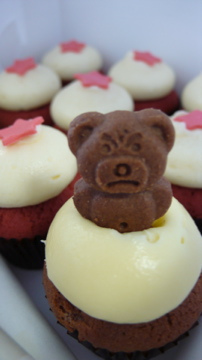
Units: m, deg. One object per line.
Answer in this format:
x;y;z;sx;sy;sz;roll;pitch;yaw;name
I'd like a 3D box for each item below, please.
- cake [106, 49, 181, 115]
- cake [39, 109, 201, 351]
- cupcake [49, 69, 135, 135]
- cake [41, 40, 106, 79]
0.255;-0.639;2.528;0.658;0.418;0.624;2;36;1;cake
0.060;0.193;1.040;0.502;0.796;0.358;-6;32;-3;cake
-0.088;-0.465;1.951;0.482;0.265;0.460;-8;26;-9;cupcake
-0.204;-0.845;2.487;0.418;0.242;0.396;0;40;-2;cake
